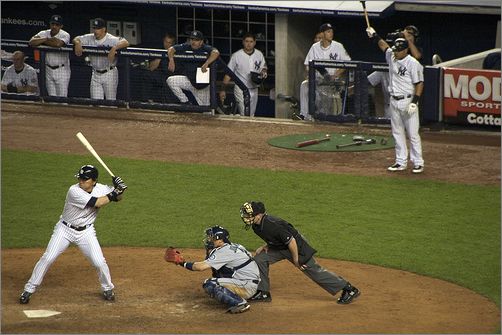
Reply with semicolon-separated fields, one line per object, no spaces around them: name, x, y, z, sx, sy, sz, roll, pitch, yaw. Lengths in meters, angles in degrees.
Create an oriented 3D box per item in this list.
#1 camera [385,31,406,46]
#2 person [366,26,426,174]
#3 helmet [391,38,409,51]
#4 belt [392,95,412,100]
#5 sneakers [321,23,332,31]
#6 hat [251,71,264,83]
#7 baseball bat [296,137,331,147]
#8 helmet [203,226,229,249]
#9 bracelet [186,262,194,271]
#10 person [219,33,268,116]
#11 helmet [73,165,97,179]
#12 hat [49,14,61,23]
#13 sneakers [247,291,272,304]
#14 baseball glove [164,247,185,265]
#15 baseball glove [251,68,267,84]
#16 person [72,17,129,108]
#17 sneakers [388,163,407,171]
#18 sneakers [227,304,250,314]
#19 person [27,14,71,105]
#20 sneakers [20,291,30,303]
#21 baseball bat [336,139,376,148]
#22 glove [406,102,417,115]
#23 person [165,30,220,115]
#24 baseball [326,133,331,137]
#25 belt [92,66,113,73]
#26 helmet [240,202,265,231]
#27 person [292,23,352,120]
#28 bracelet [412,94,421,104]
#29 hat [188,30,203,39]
camera;3.320;-3.037;18.949;0.469;0.190;0.290;-16;27;-39
person;3.412;-1.443;18.458;1.128;3.095;1.325;2;7;10
helmet;3.271;-2.691;17.779;0.336;0.275;0.230;1;6;8
belt;3.349;-1.537;18.016;0.395;0.099;0.102;1;6;10
sneakers;2.048;-3.797;22.204;0.275;0.130;0.360;-17;12;-22
hat;0.185;-2.534;23.018;0.361;0.276;0.269;0;9;-5
baseball bat;1.589;-0.643;20.526;1.148;0.118;0.122;-11;-6;-45
helmet;-0.611;1.164;13.674;0.445;0.339;0.329;4;4;12
bracelet;-1.017;1.645;13.543;0.145;0.173;0.290;0;6;-6
person;-0.185;-2.661;23.152;1.119;2.404;1.192;4;7;28
helmet;-2.731;0.067;13.612;0.317;0.142;0.217;2;7;-20
hat;-5.396;-4.096;22.606;0.278;0.264;0.371;-1;6;-16
sneakers;0.158;2.203;13.831;0.371;0.146;0.159;3;4;-8
baseball glove;-1.298;1.488;13.493;0.238;0.367;0.115;-52;-4;-38
baseball glove;0.203;-2.537;23.037;0.447;0.287;0.347;-2;13;-15
person;-4.120;-2.978;22.470;1.478;2.248;0.746;1;7;3
sneakers;3.351;-0.017;18.652;0.482;0.194;0.160;-1;18;-7
sneakers;-0.199;2.346;13.557;0.418;0.152;0.142;-4;-14;-7
person;-5.531;-2.989;22.758;0.980;2.449;0.698;-1;7;-13
sneakers;-3.773;2.150;13.637;0.196;0.212;0.221;-2;7;-20
baseball bat;2.653;-0.605;20.361;0.665;0.096;0.114;-11;-18;-19
glove;3.536;-1.290;17.869;0.193;0.236;0.090;6;29;-14
person;-1.622;-2.685;22.199;1.375;2.027;0.711;0;7;-1
baseball;1.990;-0.817;20.835;0.088;0.073;0.080;-2;1;2
belt;-4.000;-2.688;22.437;0.530;0.190;0.126;2;7;12
helmet;0.015;0.774;13.759;0.391;0.409;0.486;-9;1;40
person;1.998;-2.612;22.330;1.048;2.626;1.467;-2;7;-22
bracelet;3.632;-1.508;17.922;0.171;0.183;0.286;1;6;9
hat;-1.432;-3.570;22.095;0.268;0.193;0.369;9;5;32
